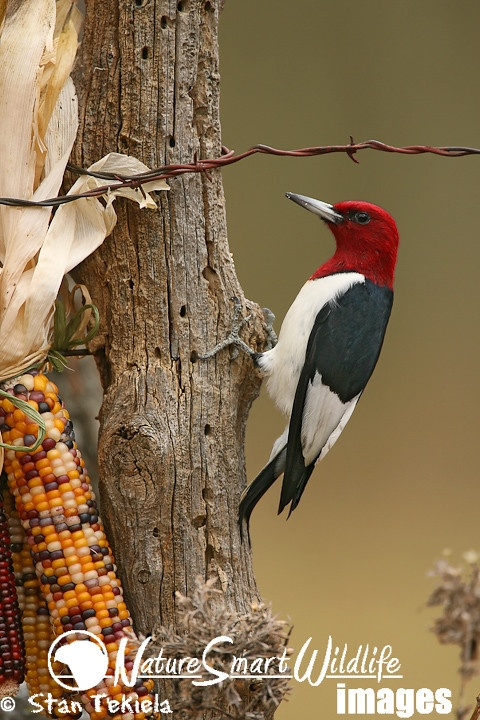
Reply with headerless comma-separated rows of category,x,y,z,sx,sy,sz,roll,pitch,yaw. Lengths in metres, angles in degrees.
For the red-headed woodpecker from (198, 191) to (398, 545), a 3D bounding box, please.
red-headed woodpecker,0.137,-0.002,2.402,0.298,0.725,0.391,3,-31,19
